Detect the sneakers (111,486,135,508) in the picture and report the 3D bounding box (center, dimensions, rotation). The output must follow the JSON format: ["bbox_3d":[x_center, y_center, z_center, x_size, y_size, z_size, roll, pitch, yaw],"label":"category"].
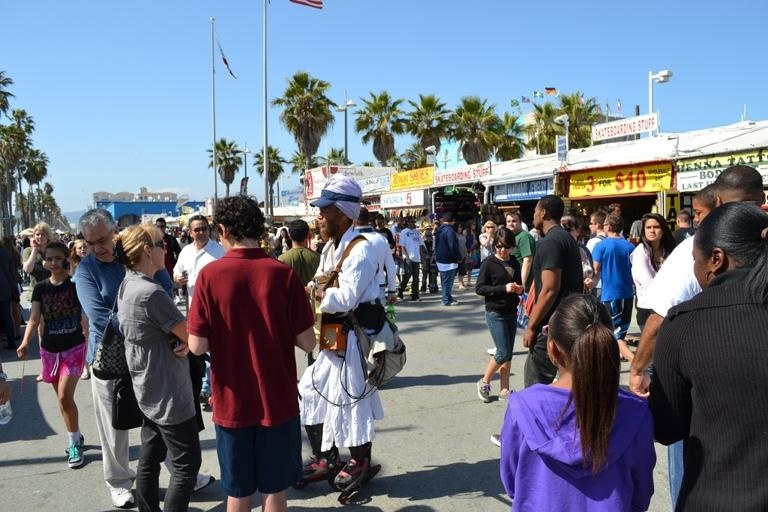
[{"bbox_3d":[-2.273,2.112,5.973,0.098,0.131,0.265,10,-15,-41],"label":"sneakers"}]

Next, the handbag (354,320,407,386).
[{"bbox_3d":[-0.024,0.699,6.122,0.328,0.625,0.593,1,46,8],"label":"handbag"}]

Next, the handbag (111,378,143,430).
[{"bbox_3d":[-2.148,1.243,5.670,0.195,0.516,0.347,-9,11,-42],"label":"handbag"}]

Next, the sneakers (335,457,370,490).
[{"bbox_3d":[-0.255,1.918,6.165,0.152,0.199,0.431,6,9,35],"label":"sneakers"}]

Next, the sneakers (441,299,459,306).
[{"bbox_3d":[1.397,0.974,14.395,0.317,0.159,0.131,-3,-1,8],"label":"sneakers"}]

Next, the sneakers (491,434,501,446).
[{"bbox_3d":[1.119,1.860,6.934,0.085,0.068,0.190,-1,9,-2],"label":"sneakers"}]

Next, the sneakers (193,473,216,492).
[{"bbox_3d":[-1.653,2.063,6.348,0.077,0.172,0.225,10,20,42],"label":"sneakers"}]

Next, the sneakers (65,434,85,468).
[{"bbox_3d":[-3.036,1.876,6.745,0.163,0.276,0.392,-5,10,-27],"label":"sneakers"}]
